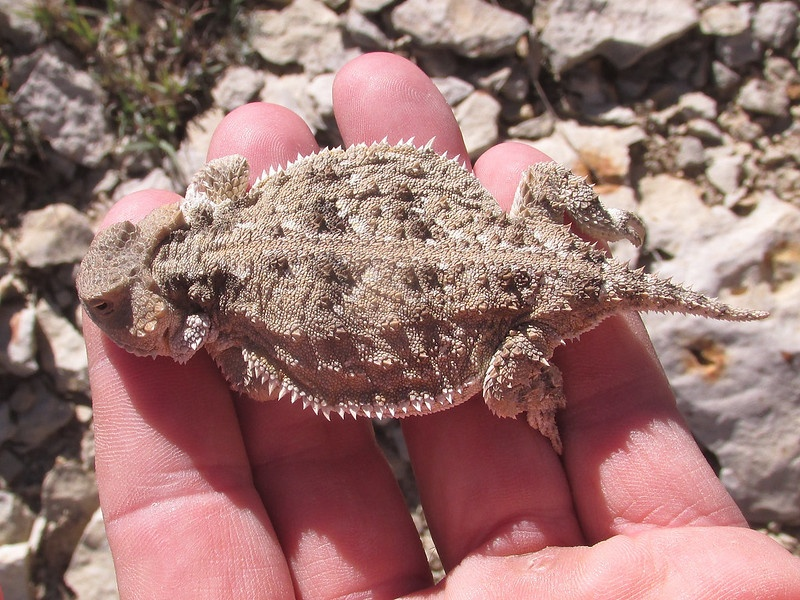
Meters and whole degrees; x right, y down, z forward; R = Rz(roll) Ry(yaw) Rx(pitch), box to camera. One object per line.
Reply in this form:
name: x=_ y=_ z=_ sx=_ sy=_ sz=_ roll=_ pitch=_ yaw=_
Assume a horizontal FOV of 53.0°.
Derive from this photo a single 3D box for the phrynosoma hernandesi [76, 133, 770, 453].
phrynosoma hernandesi: x=-0.188 y=-0.101 z=4.589 sx=3.854 sy=0.989 sz=1.677 roll=0 pitch=86 yaw=4
